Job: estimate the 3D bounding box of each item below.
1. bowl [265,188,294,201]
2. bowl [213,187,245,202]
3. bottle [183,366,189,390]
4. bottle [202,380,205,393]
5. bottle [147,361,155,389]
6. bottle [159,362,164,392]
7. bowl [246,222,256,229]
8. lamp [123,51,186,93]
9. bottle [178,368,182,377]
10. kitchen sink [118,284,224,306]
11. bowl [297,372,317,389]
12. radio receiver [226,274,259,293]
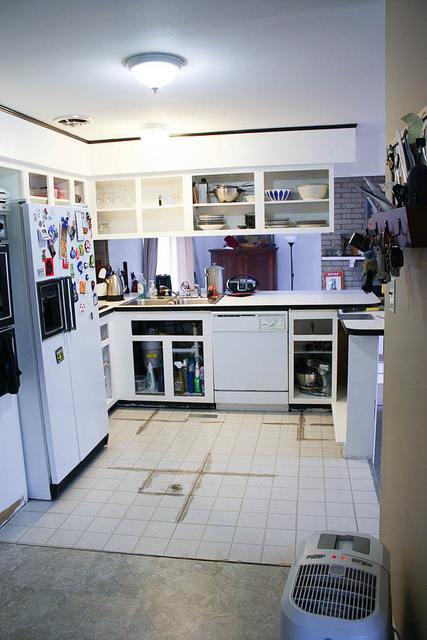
[{"bbox_3d":[0.622,-1.188,4.269,0.156,0.076,0.166,-2,9,0],"label":"bowl"},{"bbox_3d":[0.164,-1.216,4.371,0.301,0.129,0.141,-4,7,-13],"label":"bowl"},{"bbox_3d":[-0.255,0.542,4.186,0.036,0.228,0.055,2,7,33],"label":"bottle"},{"bbox_3d":[-0.091,0.604,4.072,0.012,0.124,0.071,-3,6,-8],"label":"bottle"},{"bbox_3d":[-0.596,0.524,4.279,0.070,0.268,0.142,-3,6,-9],"label":"bottle"},{"bbox_3d":[-0.496,0.540,4.263,0.065,0.260,0.040,1,7,28],"label":"bottle"},{"bbox_3d":[0.367,-0.926,4.377,0.101,0.077,0.059,1,7,10],"label":"bowl"},{"bbox_3d":[-0.287,-1.248,2.250,0.307,0.104,0.274,-5,7,-17],"label":"lamp"},{"bbox_3d":[-0.307,0.482,4.147,0.038,0.082,0.066,-3,7,-5],"label":"bottle"},{"bbox_3d":[-0.374,-0.207,4.531,0.537,0.196,0.328,0,10,11],"label":"kitchen sink"},{"bbox_3d":[0.823,0.528,3.957,0.145,0.122,0.142,-2,11,0],"label":"bowl"},{"bbox_3d":[0.275,-0.375,4.596,0.291,0.176,0.316,-3,7,-4],"label":"radio receiver"}]
